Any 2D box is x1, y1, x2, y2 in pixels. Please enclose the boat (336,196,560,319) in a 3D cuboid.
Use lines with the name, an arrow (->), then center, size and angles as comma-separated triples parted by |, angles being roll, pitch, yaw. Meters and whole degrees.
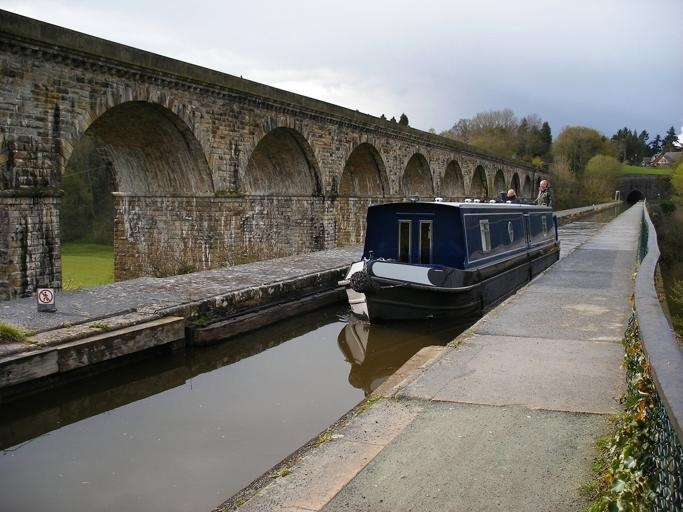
boat -> 2.839, -0.229, 11.389 | 1.911, 1.895, 6.848 | 4, 9, 36
